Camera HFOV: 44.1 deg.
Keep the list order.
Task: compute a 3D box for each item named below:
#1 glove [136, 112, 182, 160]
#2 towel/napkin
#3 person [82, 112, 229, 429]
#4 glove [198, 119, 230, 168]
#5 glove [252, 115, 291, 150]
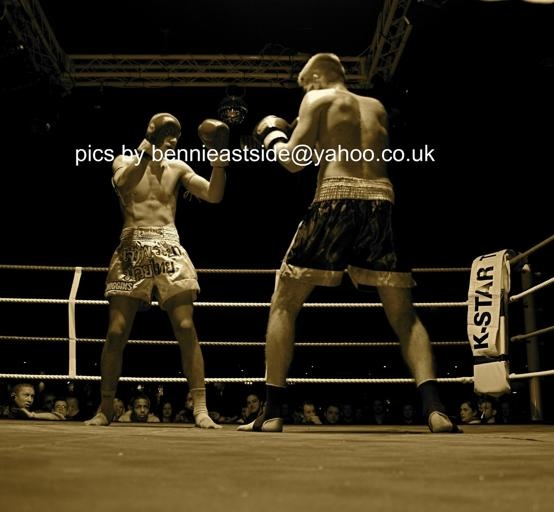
[{"bbox_3d":[-0.523,-0.534,2.917,0.137,0.181,0.127,1,11,-5],"label":"glove"},{"bbox_3d":[0.899,0.278,2.882,0.176,0.596,0.301,-2,-2,18],"label":"towel/napkin"},{"bbox_3d":[-0.495,0.045,2.921,0.586,1.290,0.436,-2,-2,-5],"label":"person"},{"bbox_3d":[-0.267,-0.482,2.954,0.126,0.224,0.136,-8,10,-37],"label":"glove"},{"bbox_3d":[-0.012,-0.442,2.575,0.119,0.146,0.135,-14,40,-5],"label":"glove"}]
